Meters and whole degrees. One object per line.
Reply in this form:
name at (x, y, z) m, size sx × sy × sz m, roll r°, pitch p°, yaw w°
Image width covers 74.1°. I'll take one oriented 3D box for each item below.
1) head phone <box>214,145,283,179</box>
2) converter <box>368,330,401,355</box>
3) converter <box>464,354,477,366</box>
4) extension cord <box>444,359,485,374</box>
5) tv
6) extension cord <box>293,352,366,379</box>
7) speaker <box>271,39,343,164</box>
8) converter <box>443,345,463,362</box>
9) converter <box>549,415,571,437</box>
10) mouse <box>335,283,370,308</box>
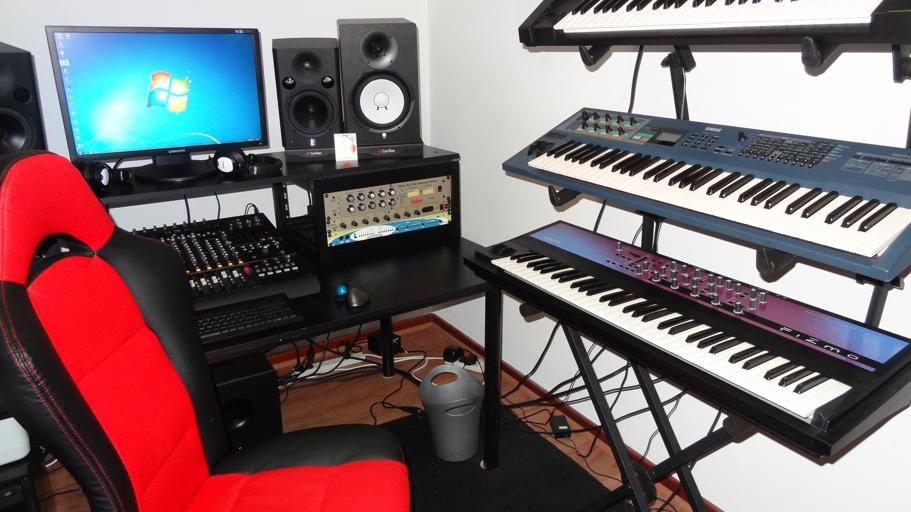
head phone at (-0.941, -0.415, 2.753) m, size 0.215 × 0.072 × 0.190 m, roll 10°, pitch 21°, yaw 15°
converter at (-0.427, 0.498, 3.457) m, size 0.158 × 0.123 × 0.235 m, roll -1°, pitch 1°, yaw 17°
converter at (0.081, 0.578, 3.389) m, size 0.057 × 0.056 × 0.064 m, roll -32°, pitch 39°, yaw -32°
extension cord at (0.043, 0.594, 3.332) m, size 0.213 × 0.070 × 0.130 m, roll -3°, pitch 17°, yaw -20°
tv at (-1.306, -0.662, 2.603) m, size 0.810 × 0.536 × 0.284 m, roll -9°, pitch 32°, yaw -29°
extension cord at (-0.704, 0.631, 3.423) m, size 0.272 × 0.035 × 0.141 m, roll -20°, pitch 32°, yaw -28°
speaker at (-0.680, -0.722, 2.839) m, size 0.312 × 0.535 × 0.142 m, roll -6°, pitch 26°, yaw -7°
converter at (-0.013, 0.543, 3.370) m, size 0.082 × 0.099 × 0.148 m, roll -6°, pitch -12°, yaw 30°
converter at (0.508, 0.827, 2.917) m, size 0.085 × 0.035 × 0.111 m, roll -4°, pitch 28°, yaw -5°
mouse at (-0.417, 0.138, 2.441) m, size 0.098 × 0.044 × 0.140 m, roll -10°, pitch 29°, yaw -45°
